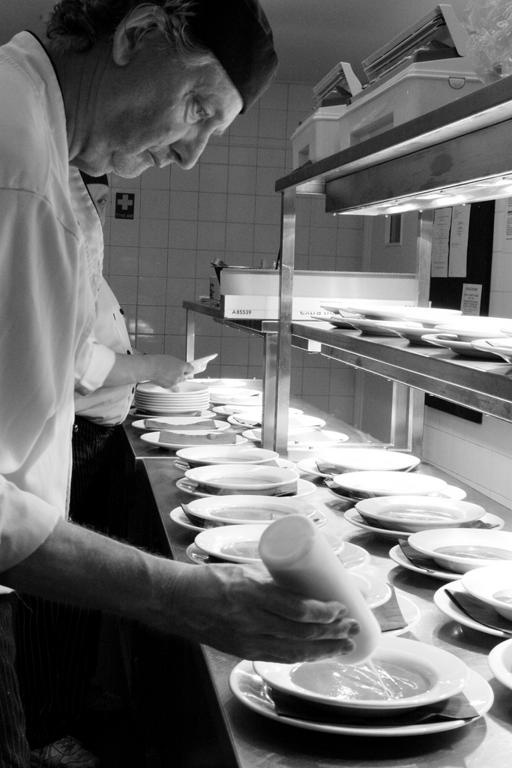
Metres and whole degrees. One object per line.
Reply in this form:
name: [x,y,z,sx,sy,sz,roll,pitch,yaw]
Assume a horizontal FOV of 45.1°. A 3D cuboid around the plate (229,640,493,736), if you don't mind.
plate: [0.092,0.289,0.580,0.115,0.015,0.114,-2,1,-12]
